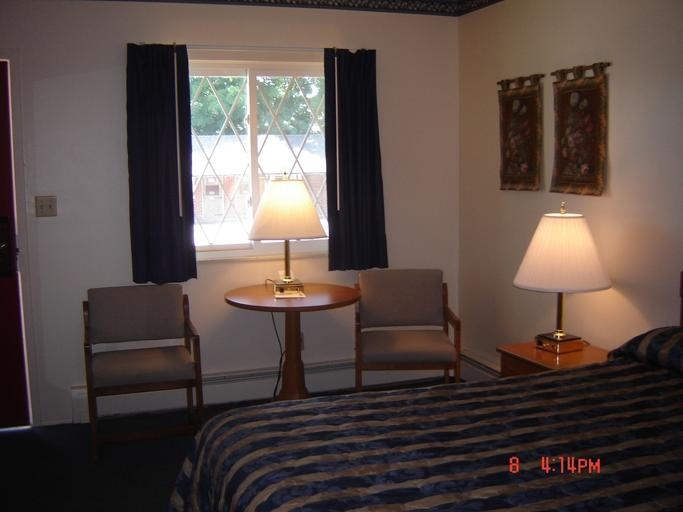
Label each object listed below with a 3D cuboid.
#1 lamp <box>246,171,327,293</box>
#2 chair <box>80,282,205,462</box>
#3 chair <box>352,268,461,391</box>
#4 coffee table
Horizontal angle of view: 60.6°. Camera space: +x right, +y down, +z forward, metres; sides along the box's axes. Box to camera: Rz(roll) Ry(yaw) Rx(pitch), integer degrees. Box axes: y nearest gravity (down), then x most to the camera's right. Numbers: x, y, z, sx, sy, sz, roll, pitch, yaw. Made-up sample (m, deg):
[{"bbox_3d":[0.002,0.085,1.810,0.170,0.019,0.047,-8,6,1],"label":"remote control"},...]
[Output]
[{"bbox_3d":[-0.449,-0.148,4.340,0.456,0.864,0.544,-11,16,-39],"label":"lamp"},{"bbox_3d":[-1.435,0.789,4.206,0.709,1.069,0.597,-3,11,-23],"label":"chair"},{"bbox_3d":[0.481,0.637,4.435,0.754,1.070,0.617,-2,4,-2],"label":"chair"},{"bbox_3d":[-0.365,0.643,4.390,0.817,0.694,0.871,-1,3,-4],"label":"coffee table"}]
